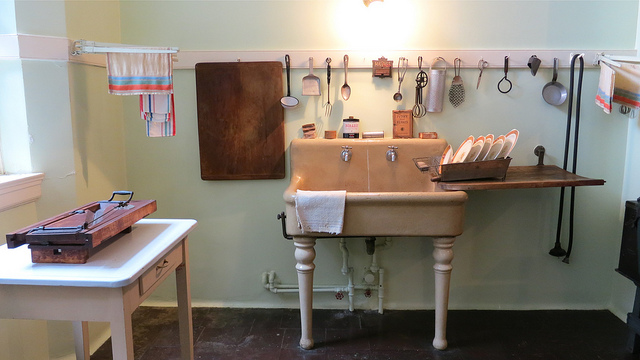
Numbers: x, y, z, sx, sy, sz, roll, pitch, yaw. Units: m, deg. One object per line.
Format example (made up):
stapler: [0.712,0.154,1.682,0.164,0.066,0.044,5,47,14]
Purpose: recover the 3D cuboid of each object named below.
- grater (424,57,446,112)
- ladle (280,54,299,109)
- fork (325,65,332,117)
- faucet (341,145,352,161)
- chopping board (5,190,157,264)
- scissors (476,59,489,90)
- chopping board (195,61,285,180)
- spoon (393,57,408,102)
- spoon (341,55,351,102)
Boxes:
grater: [0.981,-0.823,4.148,0.143,0.457,0.126,7,17,34]
ladle: [-0.271,-0.843,4.147,0.112,0.460,0.114,10,19,42]
fork: [0.070,-0.778,4.189,0.072,0.432,0.042,-5,14,-10]
faucet: [0.227,-0.236,4.130,0.149,0.166,0.087,0,0,0]
chopping board: [-1.531,0.244,3.102,0.551,0.242,0.708,2,10,11]
scissors: [1.389,-0.930,4.155,0.102,0.220,0.026,8,18,6]
chopping board: [-0.678,-0.565,4.193,1.117,1.347,0.141,-1,9,4]
spoon: [0.696,-0.870,4.180,0.128,0.378,0.042,-10,16,-28]
spoon: [0.225,-0.874,4.167,0.081,0.392,0.044,-6,14,-13]
